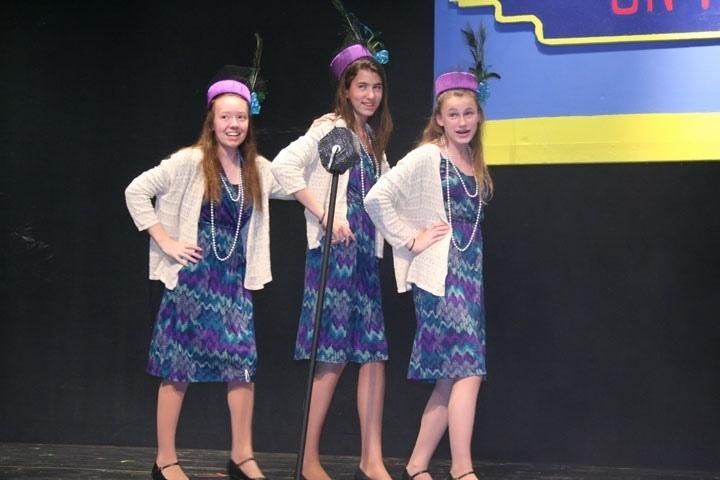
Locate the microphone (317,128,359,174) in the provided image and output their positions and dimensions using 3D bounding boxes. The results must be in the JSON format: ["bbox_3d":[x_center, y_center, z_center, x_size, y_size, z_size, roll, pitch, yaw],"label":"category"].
[{"bbox_3d":[-0.103,-0.459,4.071,0.218,0.239,0.230,-2,4,14],"label":"microphone"}]

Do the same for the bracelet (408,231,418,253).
[{"bbox_3d":[0.300,0.028,4.335,0.020,0.072,0.070,19,-9,-8],"label":"bracelet"}]

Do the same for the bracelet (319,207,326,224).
[{"bbox_3d":[-0.213,-0.126,4.388,0.049,0.074,0.028,-7,6,-44],"label":"bracelet"}]
